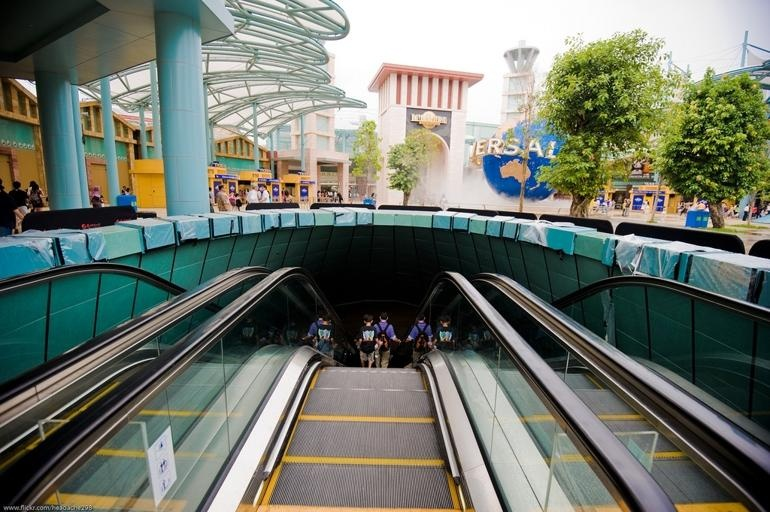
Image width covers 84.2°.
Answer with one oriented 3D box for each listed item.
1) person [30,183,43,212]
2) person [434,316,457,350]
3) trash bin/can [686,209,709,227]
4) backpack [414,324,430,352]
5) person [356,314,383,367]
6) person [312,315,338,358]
[{"bbox_3d":[-14.010,-2.388,17.037,0.380,1.218,1.703,-8,15,-39],"label":"person"},{"bbox_3d":[1.072,1.511,7.734,0.401,0.917,0.264,1,28,6],"label":"person"},{"bbox_3d":[15.411,-1.847,21.039,1.111,0.735,0.580,-4,3,-37],"label":"trash bin/can"},{"bbox_3d":[0.868,1.999,10.213,0.277,0.781,0.416,0,12,-5],"label":"backpack"},{"bbox_3d":[-0.442,2.213,10.602,0.526,1.419,0.484,5,12,3],"label":"person"},{"bbox_3d":[-1.348,1.790,9.594,0.446,1.128,0.308,5,31,-5],"label":"person"}]
